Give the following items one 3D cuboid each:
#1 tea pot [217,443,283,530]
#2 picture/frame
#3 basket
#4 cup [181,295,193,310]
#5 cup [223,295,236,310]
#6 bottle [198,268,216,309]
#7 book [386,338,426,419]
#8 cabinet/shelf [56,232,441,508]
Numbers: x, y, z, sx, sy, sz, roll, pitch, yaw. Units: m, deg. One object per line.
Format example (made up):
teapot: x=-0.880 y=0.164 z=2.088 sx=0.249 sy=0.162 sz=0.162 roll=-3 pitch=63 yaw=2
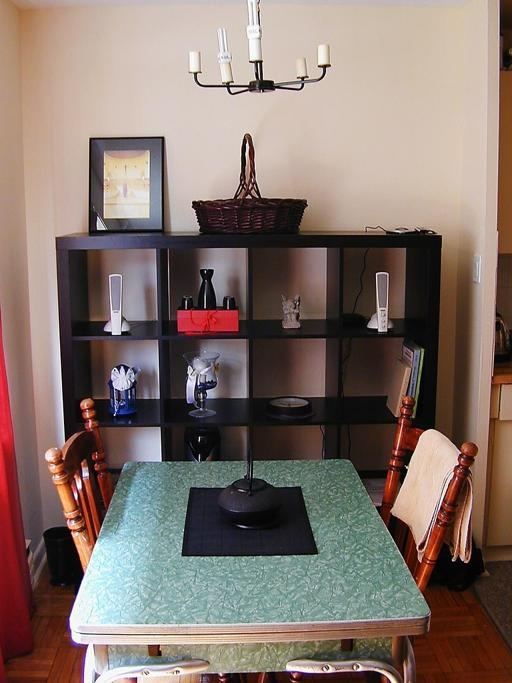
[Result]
tea pot: x=-0.017 y=0.332 z=1.359 sx=0.138 sy=0.228 sz=0.142 roll=0 pitch=6 yaw=0
picture/frame: x=-0.588 y=-0.697 z=2.452 sx=0.429 sy=0.595 sz=0.022 roll=0 pitch=2 yaw=-4
basket: x=-0.028 y=-0.615 z=2.194 sx=0.377 sy=0.393 sz=0.348 roll=-4 pitch=8 yaw=-41
cup: x=-0.295 y=-0.166 z=2.357 sx=0.040 sy=0.058 sz=0.056 roll=0 pitch=-2 yaw=-3
cup: x=-0.112 y=-0.164 z=2.319 sx=0.045 sy=0.054 sz=0.055 roll=0 pitch=1 yaw=-4
bottle: x=-0.216 y=-0.224 z=2.372 sx=0.073 sy=0.167 sz=0.184 roll=0 pitch=6 yaw=-7
book: x=0.630 y=0.167 z=2.409 sx=0.066 sy=0.315 sz=0.285 roll=2 pitch=10 yaw=7
cabinet/shelf: x=-0.052 y=0.053 z=2.265 sx=1.107 sy=0.876 sz=0.210 roll=-1 pitch=6 yaw=-5
